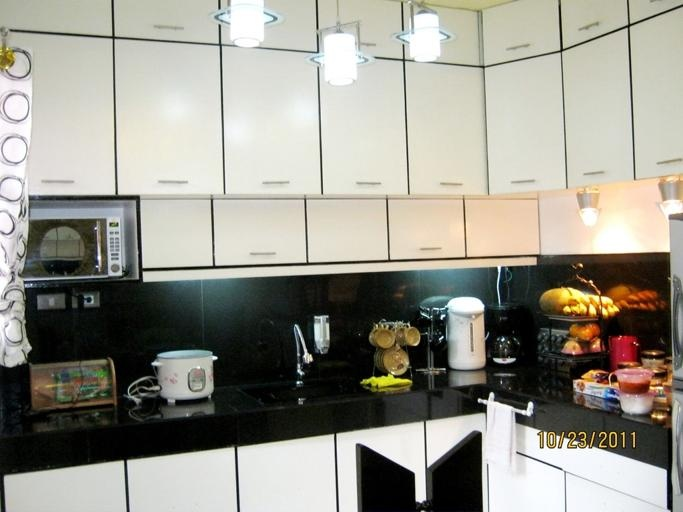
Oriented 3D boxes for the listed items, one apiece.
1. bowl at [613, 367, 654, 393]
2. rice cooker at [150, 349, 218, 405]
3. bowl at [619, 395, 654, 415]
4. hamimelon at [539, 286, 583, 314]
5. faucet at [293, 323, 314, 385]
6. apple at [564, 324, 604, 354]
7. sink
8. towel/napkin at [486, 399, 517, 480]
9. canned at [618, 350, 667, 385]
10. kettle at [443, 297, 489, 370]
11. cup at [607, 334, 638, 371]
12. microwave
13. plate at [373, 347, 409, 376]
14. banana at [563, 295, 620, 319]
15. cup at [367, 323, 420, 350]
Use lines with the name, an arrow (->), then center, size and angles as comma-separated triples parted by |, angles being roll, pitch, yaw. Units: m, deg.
bowl -> 1.539, 0.650, 3.182 | 0.178, 0.121, 0.236 | -3, 1, 20
rice cooker -> -0.948, 0.714, 3.614 | 0.328, 0.277, 0.332 | -2, 0, -2
bowl -> 1.518, 0.738, 3.096 | 0.113, 0.074, 0.116 | -1, -1, 0
hamimelon -> 1.460, 0.296, 4.070 | 0.129, 0.178, 0.212 | 15, -13, -41
faucet -> -0.246, 0.636, 3.916 | 0.120, 0.408, 0.223 | -3, 0, -5
apple -> 1.565, 0.545, 3.917 | 0.193, 0.202, 0.078 | 4, 16, 20
sink -> -0.251, 0.859, 3.836 | 0.760, 0.154, 0.353 | -3, 1, -5
towel/napkin -> 0.920, 1.058, 3.529 | 0.121, 0.404, 0.160 | 0, 2, -10
canned -> 1.756, 0.630, 3.526 | 0.251, 0.099, 0.181 | 0, 1, 28
kettle -> 0.849, 0.533, 4.110 | 0.318, 0.526, 0.436 | 0, -2, -5
cup -> 1.710, 0.577, 3.687 | 0.184, 0.222, 0.189 | 1, -2, 0
microwave -> -1.406, -0.036, 3.183 | 0.394, 0.352, 0.239 | 1, 3, -19
plate -> 0.335, 0.694, 4.033 | 0.188, 0.200, 0.056 | 4, -13, -25
banana -> 1.613, 0.326, 3.906 | 0.332, 0.141, 0.085 | -2, 1, 25
cup -> 0.362, 0.537, 4.084 | 0.285, 0.178, 0.120 | 5, -10, -13
